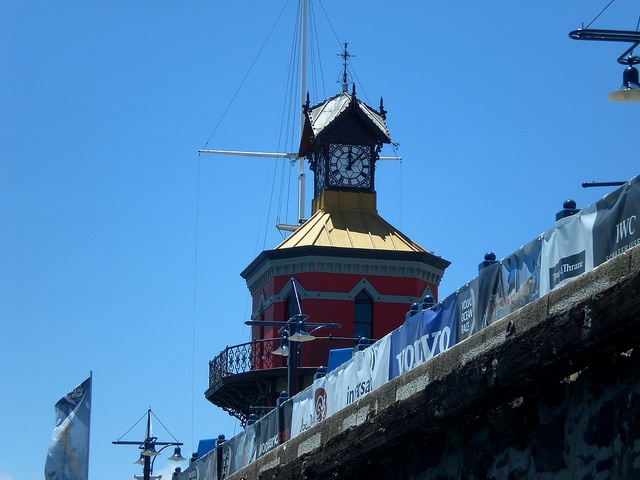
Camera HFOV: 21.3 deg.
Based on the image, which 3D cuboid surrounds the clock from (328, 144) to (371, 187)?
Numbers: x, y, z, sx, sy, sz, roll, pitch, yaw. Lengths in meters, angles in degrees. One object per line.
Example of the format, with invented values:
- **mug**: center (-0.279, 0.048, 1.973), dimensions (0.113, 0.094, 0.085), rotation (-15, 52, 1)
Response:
- **clock**: center (0.822, -2.291, 52.250), dimensions (1.016, 1.381, 0.087), rotation (1, -9, -7)
